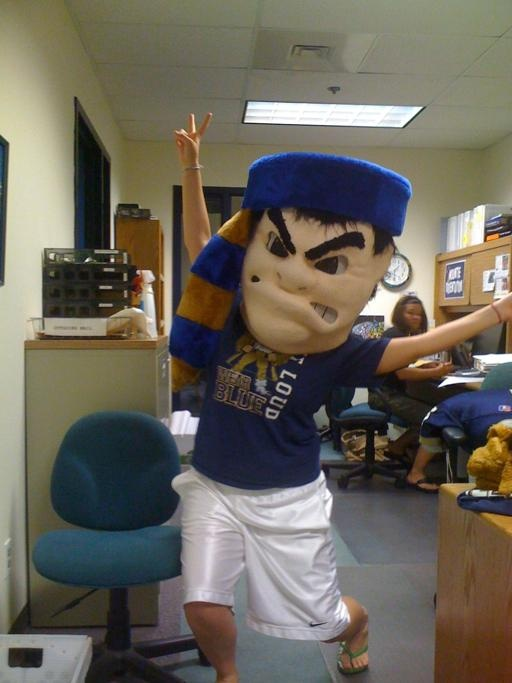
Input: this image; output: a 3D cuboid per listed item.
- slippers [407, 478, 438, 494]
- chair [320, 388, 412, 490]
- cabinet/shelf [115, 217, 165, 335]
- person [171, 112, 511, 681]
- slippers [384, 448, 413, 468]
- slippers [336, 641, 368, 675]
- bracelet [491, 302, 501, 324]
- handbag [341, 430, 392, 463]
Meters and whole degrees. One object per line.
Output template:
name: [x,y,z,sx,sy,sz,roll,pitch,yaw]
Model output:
slippers: [1.046,0.905,3.412,0.167,0.045,0.068,3,9,27]
chair: [0.738,0.615,3.866,0.606,0.818,0.638,0,3,8]
cabinet/shelf: [-0.882,-0.515,4.118,0.374,0.905,0.743,1,2,-11]
person: [0.113,0.167,1.339,0.622,1.170,0.351,1,2,-16]
slippers: [0.978,0.839,3.909,0.274,0.106,0.091,6,2,9]
slippers: [0.292,0.949,1.674,0.079,0.102,0.152,-1,-10,8]
bracelet: [0.572,-0.069,1.298,0.010,0.040,0.029,-12,7,2]
handbag: [0.811,0.768,4.124,0.229,0.136,0.301,1,5,4]
